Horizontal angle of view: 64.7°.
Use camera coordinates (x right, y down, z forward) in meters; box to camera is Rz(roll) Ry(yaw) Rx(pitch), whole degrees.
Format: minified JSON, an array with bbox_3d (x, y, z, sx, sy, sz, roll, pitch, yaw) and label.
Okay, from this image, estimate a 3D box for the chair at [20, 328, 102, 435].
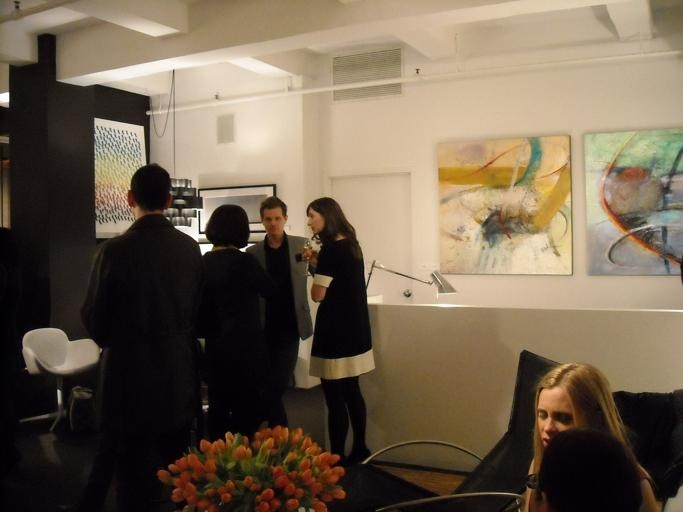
[{"bbox_3d":[-1.522,0.646,2.928,0.311,0.473,0.388,-4,-1,29],"label":"chair"}]
